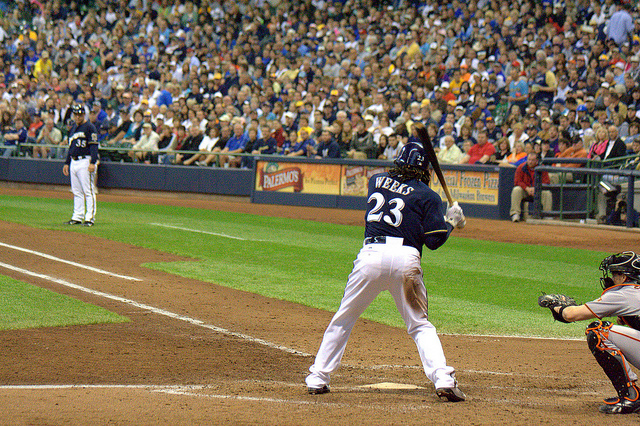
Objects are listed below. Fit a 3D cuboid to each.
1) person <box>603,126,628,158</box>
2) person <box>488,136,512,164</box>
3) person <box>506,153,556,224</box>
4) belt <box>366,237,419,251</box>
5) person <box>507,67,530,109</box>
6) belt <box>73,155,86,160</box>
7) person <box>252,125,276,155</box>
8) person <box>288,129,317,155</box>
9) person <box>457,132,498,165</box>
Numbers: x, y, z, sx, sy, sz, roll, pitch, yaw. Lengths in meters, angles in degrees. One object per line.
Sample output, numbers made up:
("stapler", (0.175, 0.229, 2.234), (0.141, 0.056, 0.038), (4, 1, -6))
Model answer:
("person", (8.262, -2.002, 30.710), (0.658, 0.877, 0.295), (4, 4, 11))
("person", (5.331, -1.875, 32.654), (0.655, 0.797, 0.288), (4, 4, 6))
("person", (6.088, -0.752, 31.795), (0.458, 2.007, 1.488), (0, 5, -45))
("belt", (1.335, 0.532, 21.336), (0.877, 0.153, 0.119), (3, 3, 2))
("person", (6.073, -3.848, 33.667), (0.668, 1.296, 0.707), (4, 3, 6))
("belt", (-6.320, -1.482, 28.725), (0.330, 0.126, 0.049), (3, 4, 1))
("person", (-1.794, -2.369, 35.562), (0.603, 0.919, 0.726), (2, 4, -26))
("person", (-0.555, -2.313, 35.427), (1.272, 0.866, 0.778), (1, 10, 3))
("person", (4.690, -1.919, 32.991), (1.368, 1.115, 0.956), (1, 4, -41))
